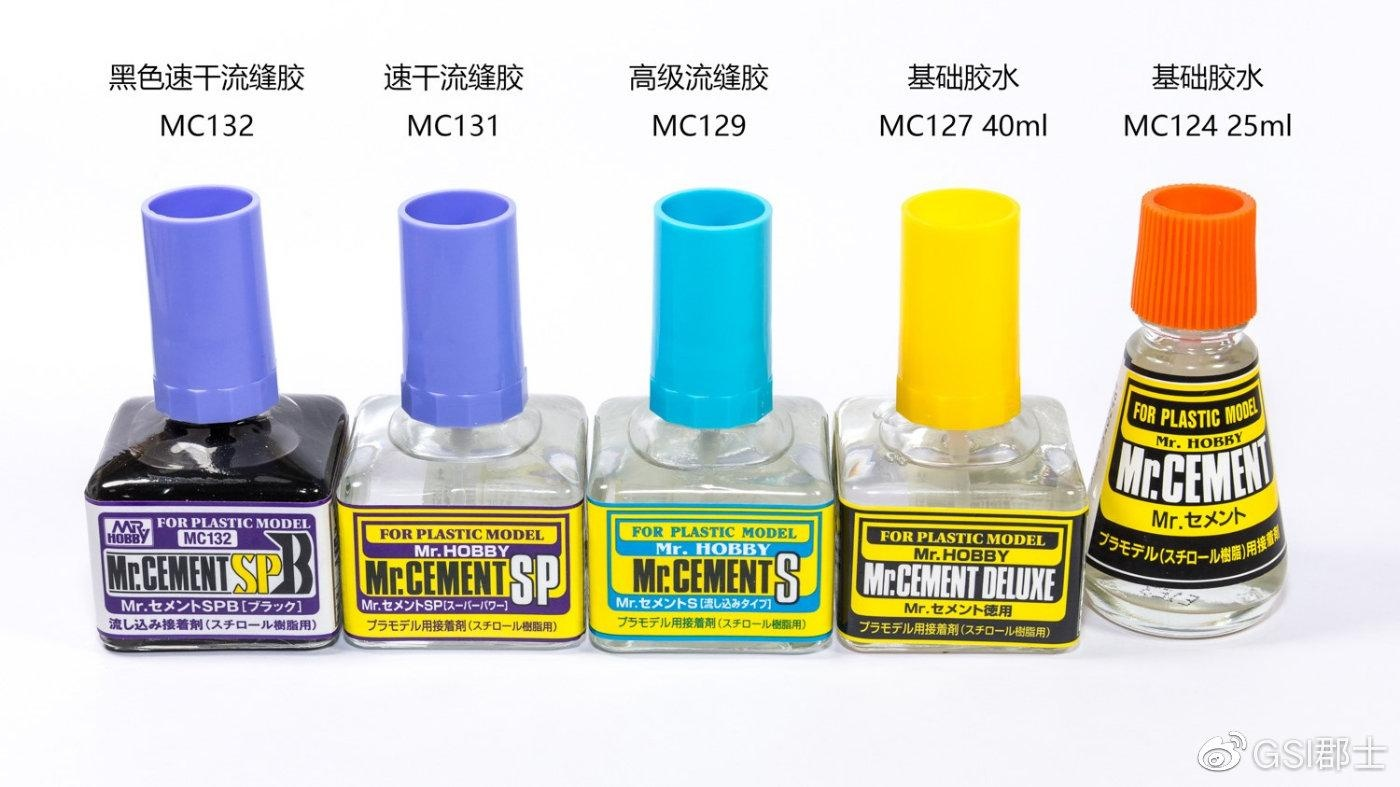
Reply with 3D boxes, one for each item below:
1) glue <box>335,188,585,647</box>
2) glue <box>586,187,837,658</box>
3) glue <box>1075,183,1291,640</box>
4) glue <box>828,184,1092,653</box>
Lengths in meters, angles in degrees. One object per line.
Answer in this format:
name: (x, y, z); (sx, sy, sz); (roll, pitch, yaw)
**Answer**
glue: (-0.419, 0.053, 2.187); (0.439, 0.797, 0.313); (-4, 7, -7)
glue: (0.031, 0.049, 2.198); (0.347, 0.855, 0.337); (2, 6, 4)
glue: (0.836, 0.040, 2.229); (0.328, 0.804, 0.282); (0, 8, 22)
glue: (0.437, 0.057, 2.196); (0.420, 0.807, 0.282); (-2, 7, 13)
